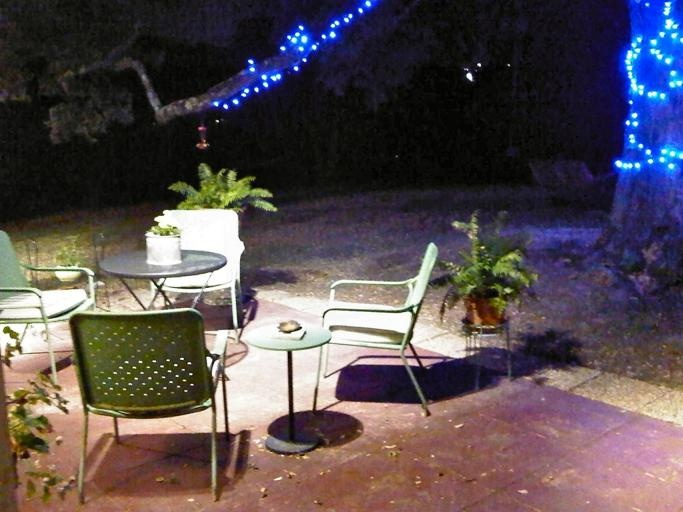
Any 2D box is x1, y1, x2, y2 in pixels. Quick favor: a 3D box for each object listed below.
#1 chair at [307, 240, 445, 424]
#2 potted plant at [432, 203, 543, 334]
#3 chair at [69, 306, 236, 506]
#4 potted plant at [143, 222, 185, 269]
[{"bbox_3d":[0.295,0.556,6.067,1.514,1.857,1.375,2,4,3],"label":"chair"},{"bbox_3d":[1.564,0.129,6.537,1.454,1.268,1.362,2,10,12],"label":"potted plant"},{"bbox_3d":[-1.342,0.848,4.122,1.079,1.251,1.394,-1,11,-3],"label":"chair"},{"bbox_3d":[-1.754,-0.113,5.999,0.418,0.399,0.397,1,5,3],"label":"potted plant"}]
